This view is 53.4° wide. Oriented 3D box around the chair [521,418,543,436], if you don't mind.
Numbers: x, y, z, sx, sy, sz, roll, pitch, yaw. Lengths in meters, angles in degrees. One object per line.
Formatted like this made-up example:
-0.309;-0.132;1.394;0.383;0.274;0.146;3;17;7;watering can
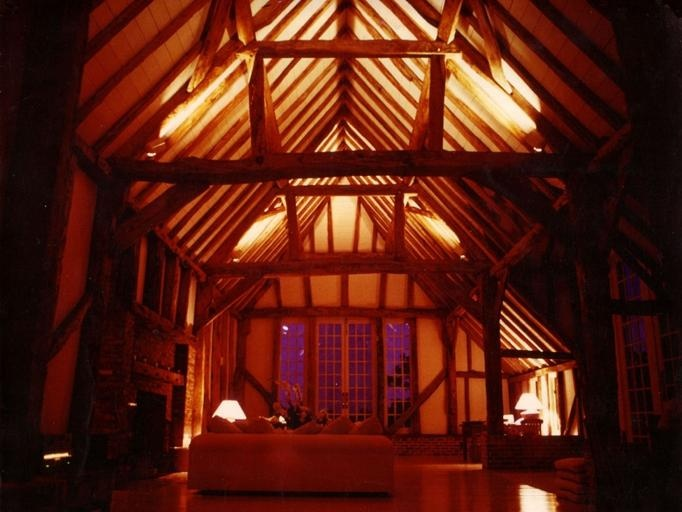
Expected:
3.416;3.053;12.185;0.341;0.312;0.415;-5;-22;14;chair

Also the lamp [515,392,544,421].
3.518;2.842;12.734;0.433;0.580;0.928;-3;-22;10;lamp

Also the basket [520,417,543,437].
3.384;3.014;12.015;0.301;0.346;0.447;-2;-24;7;basket
